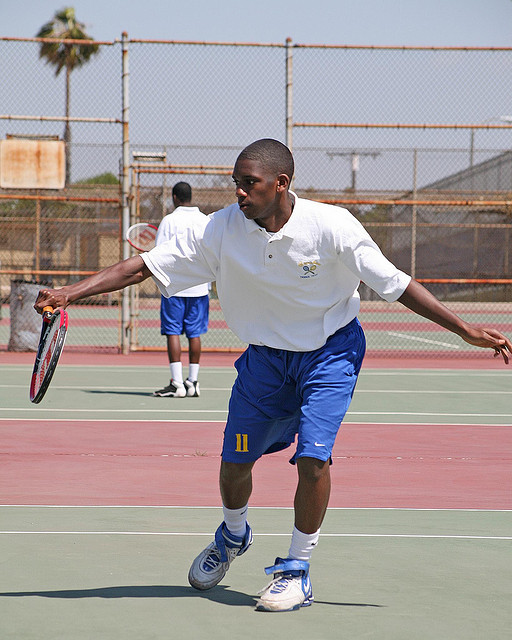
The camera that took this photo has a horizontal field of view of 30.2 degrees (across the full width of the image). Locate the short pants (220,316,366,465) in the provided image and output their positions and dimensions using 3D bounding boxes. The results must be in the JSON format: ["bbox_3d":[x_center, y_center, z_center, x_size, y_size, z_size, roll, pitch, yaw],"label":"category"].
[{"bbox_3d":[0.132,0.265,3.546,0.466,0.554,0.444,4,3,15],"label":"short pants"}]

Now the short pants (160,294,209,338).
[{"bbox_3d":[-0.676,-0.047,8.914,0.494,0.397,0.256,1,10,-11],"label":"short pants"}]

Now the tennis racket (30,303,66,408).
[{"bbox_3d":[-1.247,0.265,5.750,0.092,0.374,1.092,18,-17,-16],"label":"tennis racket"}]

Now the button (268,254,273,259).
[{"bbox_3d":[0.055,-0.232,3.393,0.017,0.014,0.004,-1,-10,1],"label":"button"}]

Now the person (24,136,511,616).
[{"bbox_3d":[0.071,0.184,3.475,1.357,1.688,0.487,3,4,6],"label":"person"}]
